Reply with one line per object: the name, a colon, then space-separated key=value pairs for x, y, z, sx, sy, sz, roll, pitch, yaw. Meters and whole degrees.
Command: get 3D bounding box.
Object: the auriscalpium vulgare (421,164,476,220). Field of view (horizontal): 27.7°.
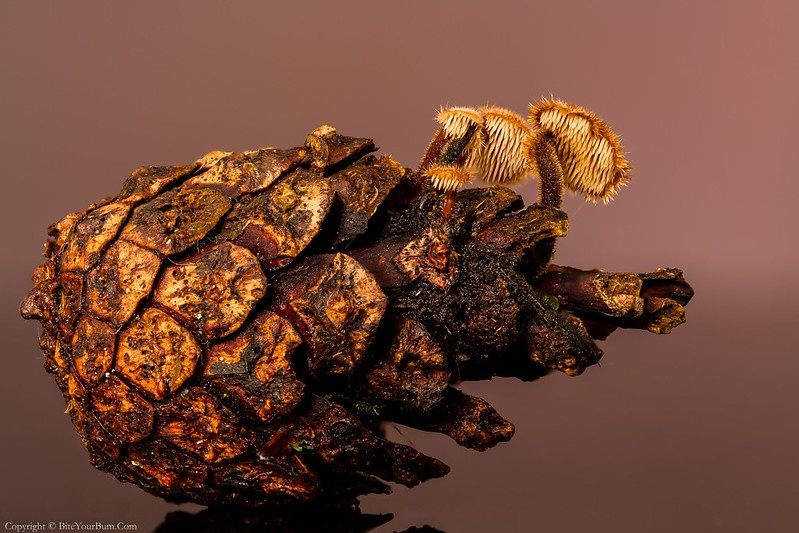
auriscalpium vulgare: x=0.258 y=-0.395 z=8.248 sx=0.259 sy=0.261 sz=0.283 roll=-6 pitch=-60 yaw=-17
